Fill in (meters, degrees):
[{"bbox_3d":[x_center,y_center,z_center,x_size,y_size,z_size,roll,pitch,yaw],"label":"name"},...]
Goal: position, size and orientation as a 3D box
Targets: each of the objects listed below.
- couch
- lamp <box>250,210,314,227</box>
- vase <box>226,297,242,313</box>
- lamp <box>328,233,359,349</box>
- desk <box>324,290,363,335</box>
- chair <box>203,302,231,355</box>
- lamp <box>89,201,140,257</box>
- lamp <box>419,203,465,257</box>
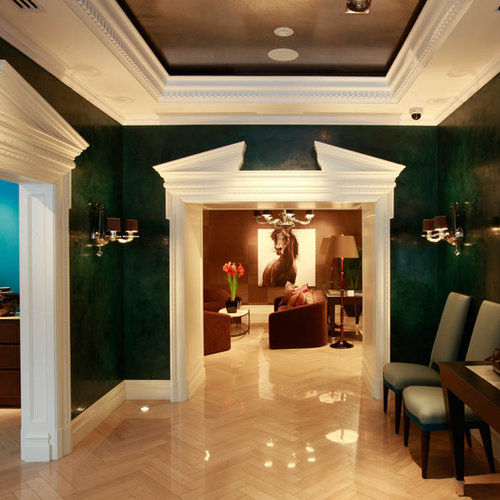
[{"bbox_3d":[0.775,1.147,7.790,0.868,0.726,1.965,-3,1,2],"label":"couch"},{"bbox_3d":[0.576,-0.576,8.412,0.601,0.256,0.638,0,-3,0],"label":"lamp"},{"bbox_3d":[-0.264,0.919,7.290,0.224,0.168,0.153,2,-10,-8],"label":"vase"},{"bbox_3d":[1.640,0.606,7.964,0.420,1.719,3.059,0,2,11],"label":"lamp"},{"bbox_3d":[1.513,1.022,7.472,0.715,0.515,0.405,-1,-2,-9],"label":"desk"},{"bbox_3d":[-0.492,1.199,6.500,0.530,0.746,0.512,-1,3,-17],"label":"chair"},{"bbox_3d":[-1.306,-0.181,4.346,0.383,0.557,0.390,5,5,34],"label":"lamp"},{"bbox_3d":[1.865,-0.226,4.314,0.320,0.506,0.355,8,12,41],"label":"lamp"}]
